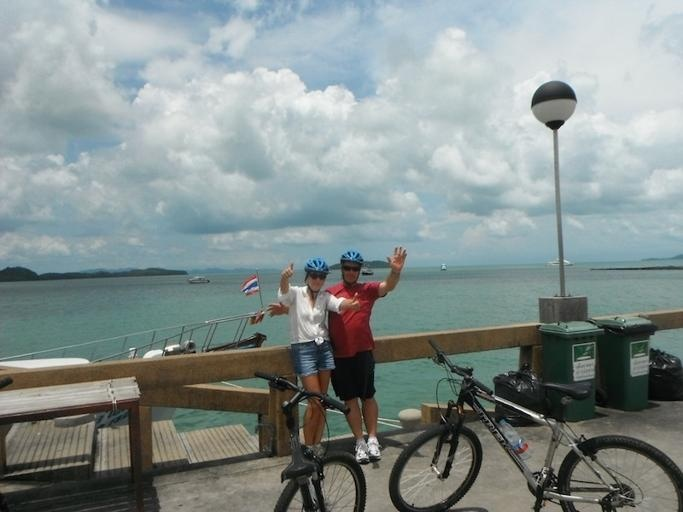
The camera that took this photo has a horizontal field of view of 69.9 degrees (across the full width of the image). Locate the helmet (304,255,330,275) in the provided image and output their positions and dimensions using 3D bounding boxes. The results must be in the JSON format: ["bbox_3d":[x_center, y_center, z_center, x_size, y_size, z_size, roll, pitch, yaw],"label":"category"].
[{"bbox_3d":[-0.266,0.144,5.359,0.254,0.187,0.364,6,-19,-3],"label":"helmet"}]

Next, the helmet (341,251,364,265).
[{"bbox_3d":[0.130,0.023,5.676,0.154,0.201,0.184,2,2,5],"label":"helmet"}]

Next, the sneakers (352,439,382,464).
[{"bbox_3d":[0.321,2.288,5.729,0.230,0.232,0.585,0,-21,0],"label":"sneakers"}]
